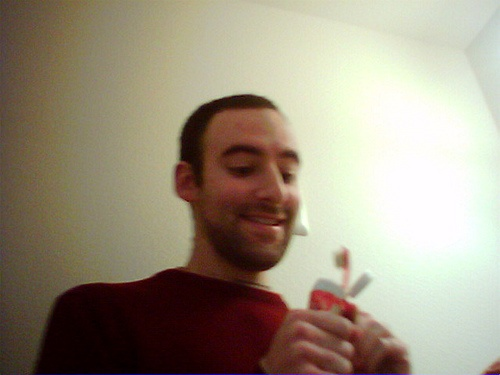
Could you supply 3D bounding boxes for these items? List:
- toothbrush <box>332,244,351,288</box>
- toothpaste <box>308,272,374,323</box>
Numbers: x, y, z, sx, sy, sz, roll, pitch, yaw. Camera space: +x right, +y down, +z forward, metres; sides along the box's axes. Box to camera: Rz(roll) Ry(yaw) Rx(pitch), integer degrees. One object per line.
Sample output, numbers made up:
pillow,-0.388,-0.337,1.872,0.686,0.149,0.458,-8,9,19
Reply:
toothbrush,0.386,0.347,1.931,0.076,0.253,0.053,-1,30,2
toothpaste,0.330,0.427,1.820,0.177,0.199,0.090,0,5,-9
